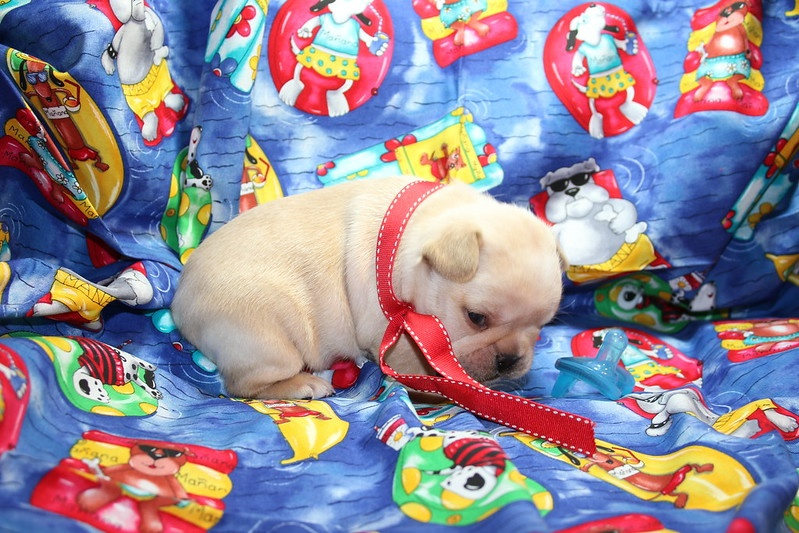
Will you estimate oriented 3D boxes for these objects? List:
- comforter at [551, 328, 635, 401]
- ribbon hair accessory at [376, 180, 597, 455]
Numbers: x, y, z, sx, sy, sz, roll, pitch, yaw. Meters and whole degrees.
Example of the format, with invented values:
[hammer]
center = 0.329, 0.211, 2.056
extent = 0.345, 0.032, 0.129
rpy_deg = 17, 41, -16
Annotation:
[comforter]
center = 0.810, 0.411, 3.296
extent = 0.266, 0.314, 0.288
rpy_deg = 31, 4, -20
[ribbon hair accessory]
center = 0.353, 0.163, 3.530
extent = 0.864, 0.391, 1.586
rpy_deg = 16, 24, -6
